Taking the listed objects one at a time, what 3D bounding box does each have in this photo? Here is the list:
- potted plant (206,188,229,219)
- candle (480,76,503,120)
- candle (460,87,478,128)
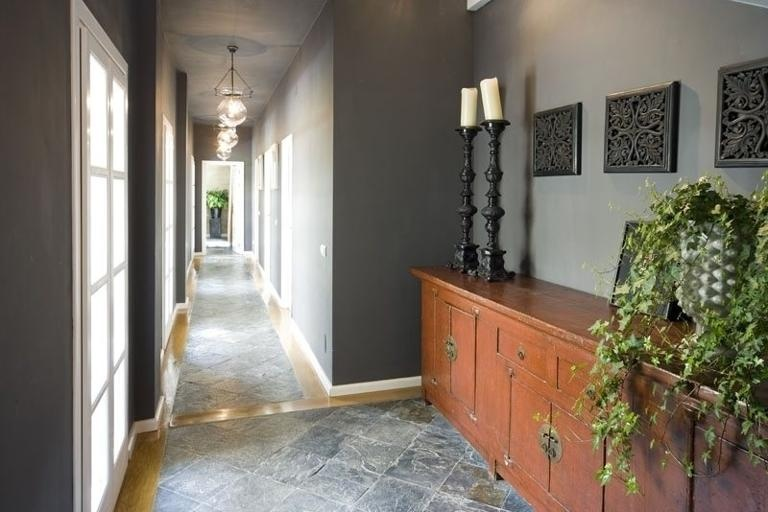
[{"bbox_3d":[-5.371,-1.654,15.282,0.748,0.900,0.832,4,0,14],"label":"potted plant"},{"bbox_3d":[0.753,-1.081,3.347,0.149,0.284,0.132,2,11,12],"label":"candle"},{"bbox_3d":[0.657,-1.094,3.595,0.093,0.275,0.182,8,13,38],"label":"candle"}]
